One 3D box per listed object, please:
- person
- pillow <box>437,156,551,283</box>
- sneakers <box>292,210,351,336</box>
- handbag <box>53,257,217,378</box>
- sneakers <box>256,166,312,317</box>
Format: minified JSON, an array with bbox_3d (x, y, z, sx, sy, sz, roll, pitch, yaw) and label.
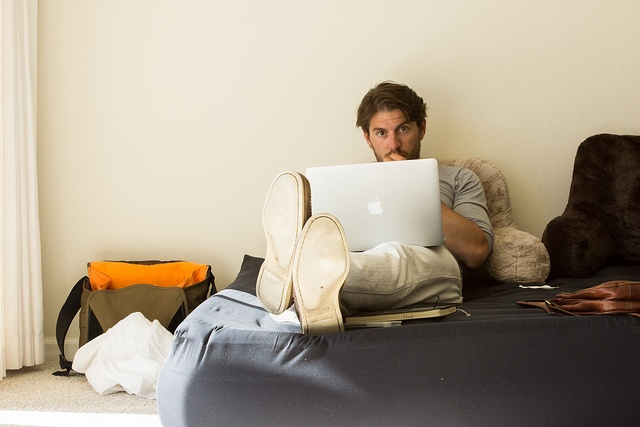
[{"bbox_3d":[0.310,-0.012,2.869,0.821,1.066,1.537,-6,-8,27],"label":"person"},{"bbox_3d":[0.892,0.092,2.926,0.388,0.619,0.653,-7,1,4],"label":"pillow"},{"bbox_3d":[0.004,0.243,2.249,0.190,0.540,0.213,2,-8,2],"label":"sneakers"},{"bbox_3d":[-1.077,0.650,3.238,1.025,0.739,0.373,0,18,-12],"label":"handbag"},{"bbox_3d":[-0.143,0.136,2.332,0.212,0.637,0.231,8,-7,20],"label":"sneakers"}]
